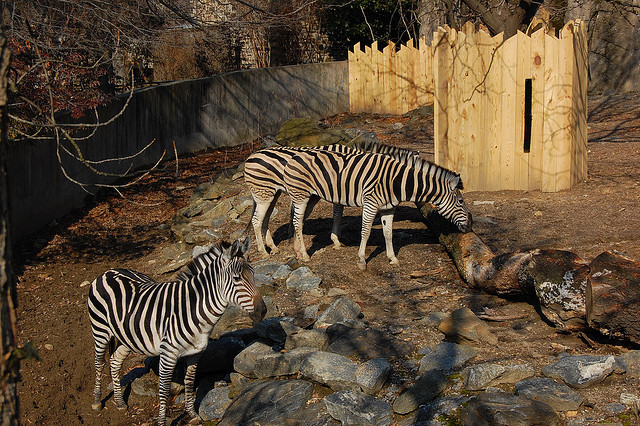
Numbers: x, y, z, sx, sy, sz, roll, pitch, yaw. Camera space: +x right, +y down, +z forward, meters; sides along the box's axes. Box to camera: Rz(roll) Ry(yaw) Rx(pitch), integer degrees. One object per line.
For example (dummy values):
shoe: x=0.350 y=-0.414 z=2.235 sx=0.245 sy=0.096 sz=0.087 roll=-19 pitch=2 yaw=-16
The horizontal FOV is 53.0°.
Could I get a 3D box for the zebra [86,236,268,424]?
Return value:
zebra: x=-2.077 y=1.648 z=9.055 sx=2.599 sy=2.377 sz=1.085 roll=1 pitch=21 yaw=20
